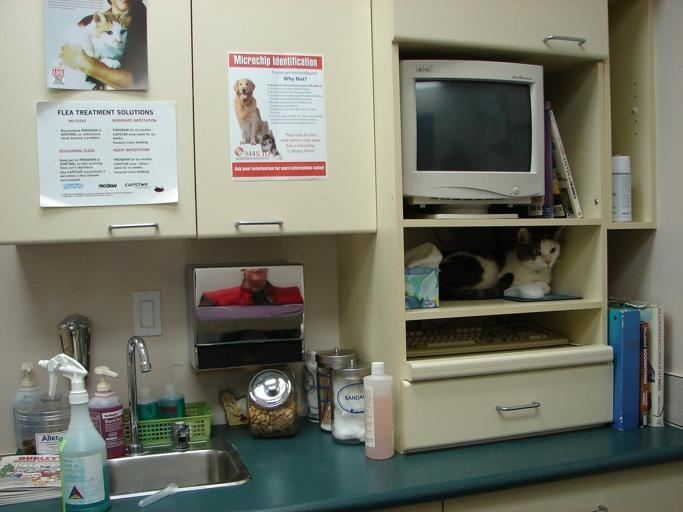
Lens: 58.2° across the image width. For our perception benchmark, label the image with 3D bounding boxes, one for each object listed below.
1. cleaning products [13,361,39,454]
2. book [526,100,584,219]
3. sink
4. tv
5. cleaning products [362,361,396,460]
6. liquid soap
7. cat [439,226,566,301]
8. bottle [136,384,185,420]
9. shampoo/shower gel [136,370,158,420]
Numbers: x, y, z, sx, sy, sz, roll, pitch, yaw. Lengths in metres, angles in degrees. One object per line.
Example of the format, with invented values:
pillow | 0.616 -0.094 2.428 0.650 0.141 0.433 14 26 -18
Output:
cleaning products | -1.007 0.490 1.968 0.089 0.280 0.096 -3 -1 8
book | 0.700 -0.305 2.018 0.149 0.327 0.304 -9 12 15
sink | -0.502 0.656 1.848 0.269 0.117 0.198 -4 9 -17
tv | 0.448 -0.442 2.045 0.473 0.495 0.320 3 29 15
cleaning products | 0.109 0.459 1.807 0.081 0.265 0.088 -1 13 -1
liquid soap | -0.709 0.488 1.905 0.098 0.275 0.101 -12 0 41
cat | 0.556 0.002 2.120 0.383 0.215 0.230 -2 15 12
bottle | -0.606 0.488 2.051 0.145 0.119 0.086 1 -2 -15
shampoo/shower gel | -0.643 0.487 2.023 0.067 0.123 0.068 -2 -8 -33
